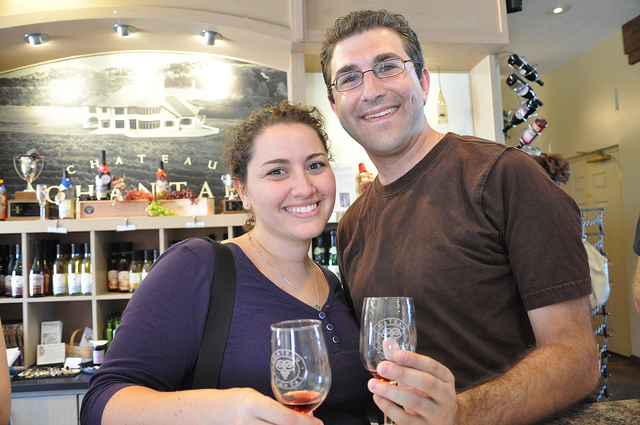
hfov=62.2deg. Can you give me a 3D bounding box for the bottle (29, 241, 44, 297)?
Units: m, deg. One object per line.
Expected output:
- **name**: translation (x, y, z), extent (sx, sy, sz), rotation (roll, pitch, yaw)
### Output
- **bottle**: translation (-2.207, 0.439, 4.103), extent (0.099, 0.427, 0.077), rotation (0, -8, -27)

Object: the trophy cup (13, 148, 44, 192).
- **trophy cup**: translation (-2.470, -0.356, 4.479), extent (0.235, 0.474, 0.582), rotation (0, -8, -30)

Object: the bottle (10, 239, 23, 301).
- **bottle**: translation (-2.379, 0.466, 4.128), extent (0.082, 0.439, 0.197), rotation (0, -8, -30)

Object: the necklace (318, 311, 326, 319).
- **necklace**: translation (0.011, 0.522, 2.700), extent (0.024, 0.034, 0.050), rotation (-8, -8, 34)

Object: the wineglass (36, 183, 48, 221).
- **wineglass**: translation (-2.195, -0.067, 4.150), extent (0.065, 0.288, 0.178), rotation (1, -8, -32)

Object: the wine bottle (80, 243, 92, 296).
- **wine bottle**: translation (-1.863, 0.450, 4.183), extent (0.079, 0.407, 0.182), rotation (-1, -8, -24)

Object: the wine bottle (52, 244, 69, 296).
- **wine bottle**: translation (-2.062, 0.455, 4.186), extent (0.112, 0.403, 0.182), rotation (0, -8, -27)

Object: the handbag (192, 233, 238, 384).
- **handbag**: translation (-0.526, 0.474, 2.631), extent (0.235, 0.701, 0.125), rotation (-3, -7, -9)

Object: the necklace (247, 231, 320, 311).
- **necklace**: translation (-0.215, 0.364, 2.857), extent (0.095, 0.634, 0.199), rotation (-41, -9, 23)

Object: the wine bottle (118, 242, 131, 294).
- **wine bottle**: translation (-1.582, 0.443, 4.247), extent (0.095, 0.392, 0.147), rotation (-1, -7, -21)
